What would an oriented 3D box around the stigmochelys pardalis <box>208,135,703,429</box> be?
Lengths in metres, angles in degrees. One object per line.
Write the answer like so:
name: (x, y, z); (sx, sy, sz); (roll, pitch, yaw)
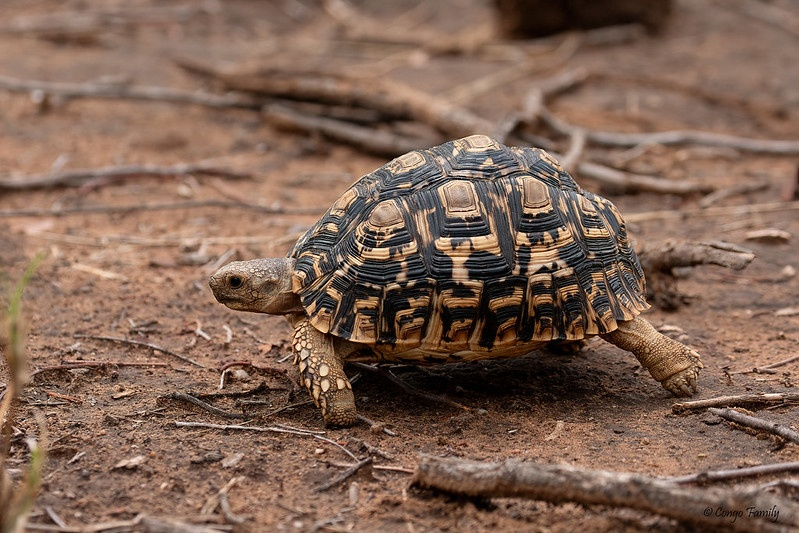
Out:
stigmochelys pardalis: (0.453, 0.181, 7.049); (3.140, 1.841, 1.498); (-8, 38, -3)
